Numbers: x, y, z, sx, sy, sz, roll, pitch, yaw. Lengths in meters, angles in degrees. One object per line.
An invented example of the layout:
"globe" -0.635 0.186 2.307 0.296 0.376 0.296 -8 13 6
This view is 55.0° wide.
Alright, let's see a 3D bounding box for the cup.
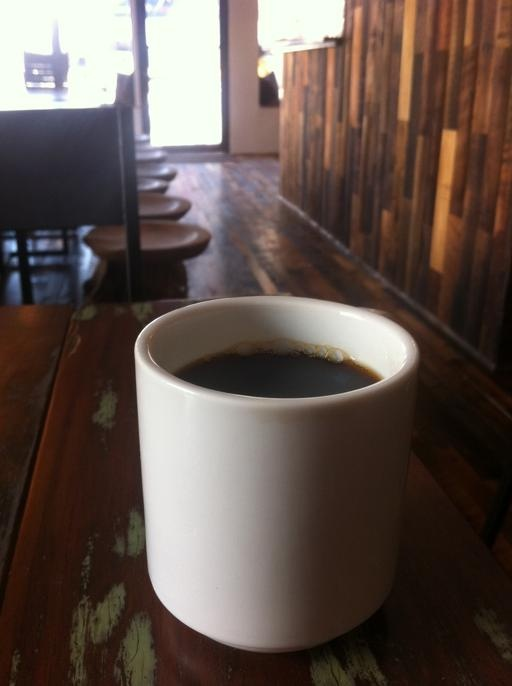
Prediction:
"cup" 0.008 0.052 0.218 0.085 0.141 0.119 0 18 -2
